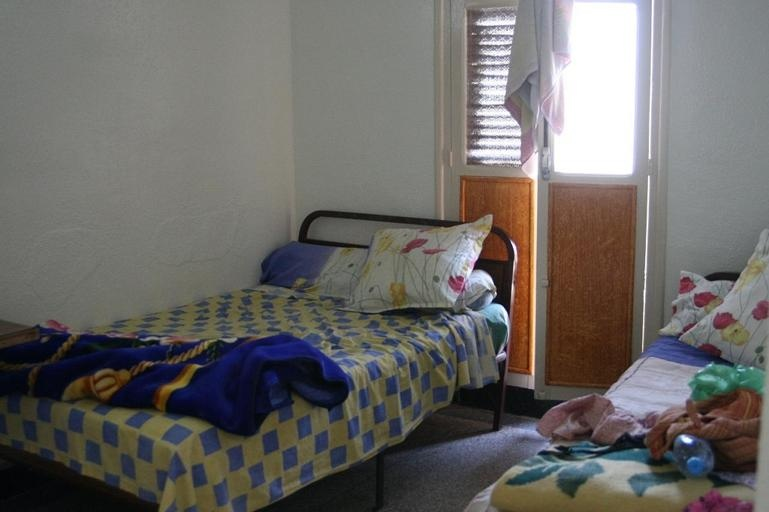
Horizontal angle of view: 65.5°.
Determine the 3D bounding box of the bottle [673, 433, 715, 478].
[{"bbox_3d":[1.052,0.684,2.061,0.114,0.141,0.081,-25,-35,5],"label":"bottle"}]
